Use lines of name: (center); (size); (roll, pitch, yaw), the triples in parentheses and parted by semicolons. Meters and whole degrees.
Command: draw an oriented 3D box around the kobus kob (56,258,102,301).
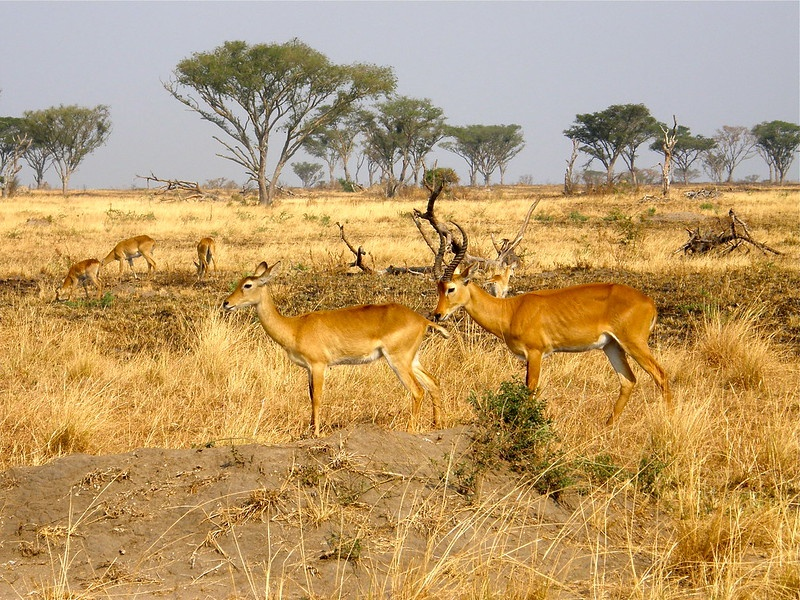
kobus kob: (-5.738, -0.389, 17.429); (0.849, 0.701, 0.776); (-1, 5, -29)

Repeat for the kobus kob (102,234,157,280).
kobus kob: (-5.513, -0.916, 20.062); (1.022, 0.831, 0.654); (1, 4, -3)
